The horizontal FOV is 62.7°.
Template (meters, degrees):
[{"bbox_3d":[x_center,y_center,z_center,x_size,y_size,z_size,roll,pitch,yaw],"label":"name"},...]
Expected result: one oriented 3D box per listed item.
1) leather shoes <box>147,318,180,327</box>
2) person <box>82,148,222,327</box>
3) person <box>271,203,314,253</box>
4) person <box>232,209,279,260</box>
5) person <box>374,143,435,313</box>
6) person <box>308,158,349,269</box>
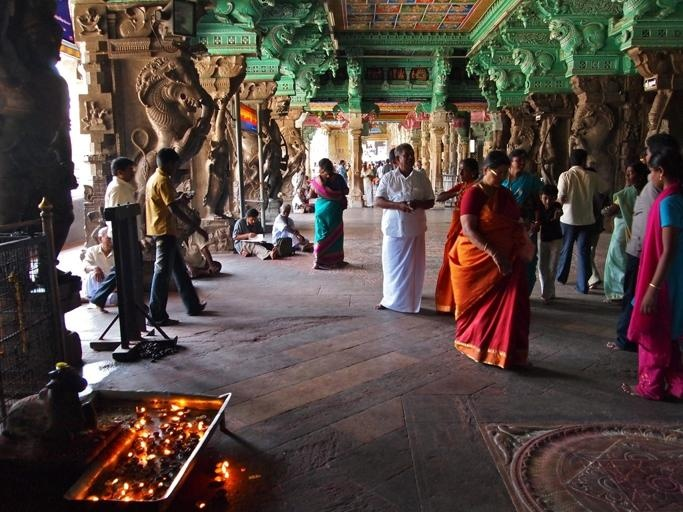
[{"bbox_3d":[-1.684,0.624,5.374,0.261,0.120,0.092,-2,4,-12],"label":"leather shoes"},{"bbox_3d":[-1.751,-0.216,5.580,0.937,1.749,1.251,-4,8,-32],"label":"person"},{"bbox_3d":[-0.866,-0.461,9.520,0.771,0.994,0.657,-2,16,-5],"label":"person"},{"bbox_3d":[-1.337,-0.362,9.045,0.512,0.771,0.998,-1,10,-39],"label":"person"},{"bbox_3d":[0.636,-0.275,5.728,0.583,1.724,0.410,1,7,9],"label":"person"},{"bbox_3d":[-0.169,-0.617,8.142,0.512,1.567,0.684,0,7,-1],"label":"person"}]
